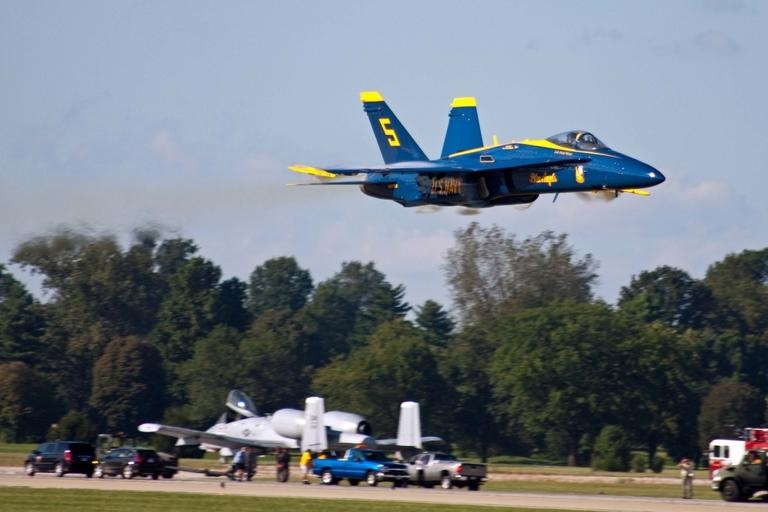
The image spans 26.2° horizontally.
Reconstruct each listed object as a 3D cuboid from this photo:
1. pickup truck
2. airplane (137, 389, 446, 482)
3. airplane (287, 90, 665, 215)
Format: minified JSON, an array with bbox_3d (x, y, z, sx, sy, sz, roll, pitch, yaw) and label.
[{"bbox_3d":[1.025,16.479,128.724,12.883,3.169,1.684,1,-21,3],"label":"pickup truck"},{"bbox_3d":[-7.986,14.082,133.296,12.306,2.215,11.908,-2,-4,40],"label":"airplane"},{"bbox_3d":[6.969,-6.406,127.012,19.576,4.501,20.585,0,2,39],"label":"airplane"}]
